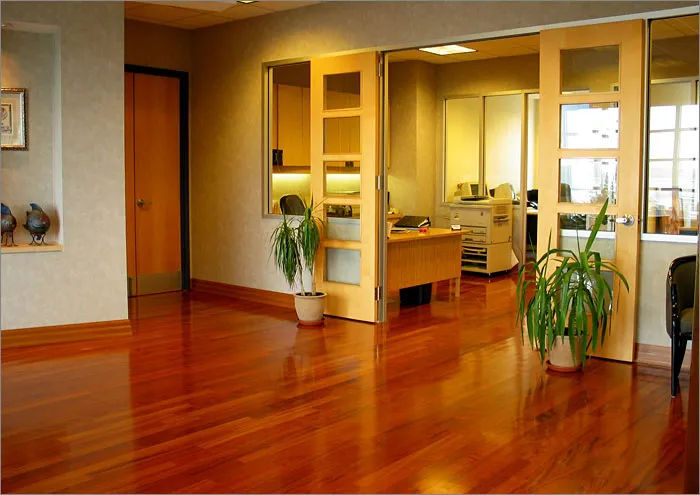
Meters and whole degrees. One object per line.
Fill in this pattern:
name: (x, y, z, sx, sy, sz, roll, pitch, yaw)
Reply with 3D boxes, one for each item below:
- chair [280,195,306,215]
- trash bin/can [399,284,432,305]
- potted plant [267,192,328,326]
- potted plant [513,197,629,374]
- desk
chair: (-0.683, -0.515, 6.273, 0.291, 0.237, 0.319, -14, 15, 2)
trash bin/can: (0.878, 0.582, 6.722, 0.304, 0.296, 0.304, -1, 0, -29)
potted plant: (-0.584, 0.110, 5.930, 0.586, 1.395, 0.957, -1, 6, -8)
potted plant: (1.912, 0.311, 4.331, 0.854, 1.422, 1.277, 3, 7, 21)
desk: (0.991, 0.146, 6.207, 0.746, 0.847, 1.328, 3, 6, 38)
